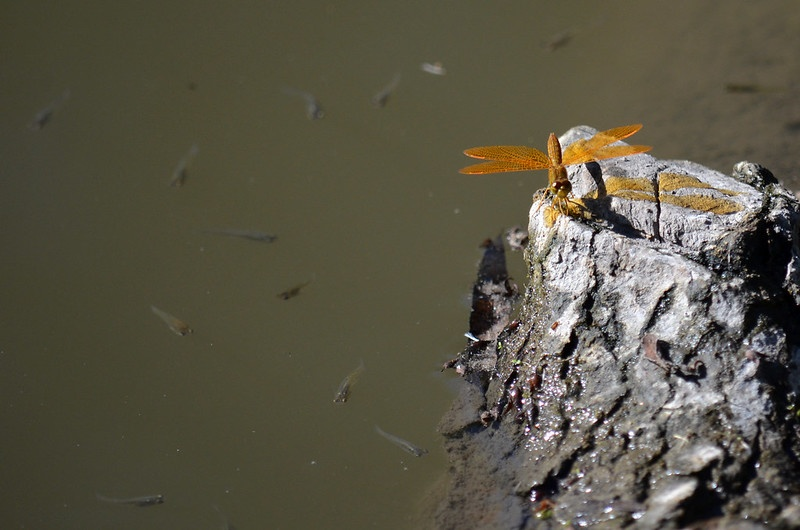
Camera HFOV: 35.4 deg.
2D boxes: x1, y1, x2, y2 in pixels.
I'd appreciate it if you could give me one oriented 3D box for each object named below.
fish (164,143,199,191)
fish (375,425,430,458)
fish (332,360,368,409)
[{"bbox_3d":[-1.223,-0.568,7.233,0.087,0.091,0.265,19,62,30],"label":"fish"},{"bbox_3d":[0.013,0.957,6.784,0.302,0.056,0.105,28,96,16],"label":"fish"},{"bbox_3d":[-0.268,0.658,6.888,0.082,0.091,0.302,40,71,0],"label":"fish"}]
